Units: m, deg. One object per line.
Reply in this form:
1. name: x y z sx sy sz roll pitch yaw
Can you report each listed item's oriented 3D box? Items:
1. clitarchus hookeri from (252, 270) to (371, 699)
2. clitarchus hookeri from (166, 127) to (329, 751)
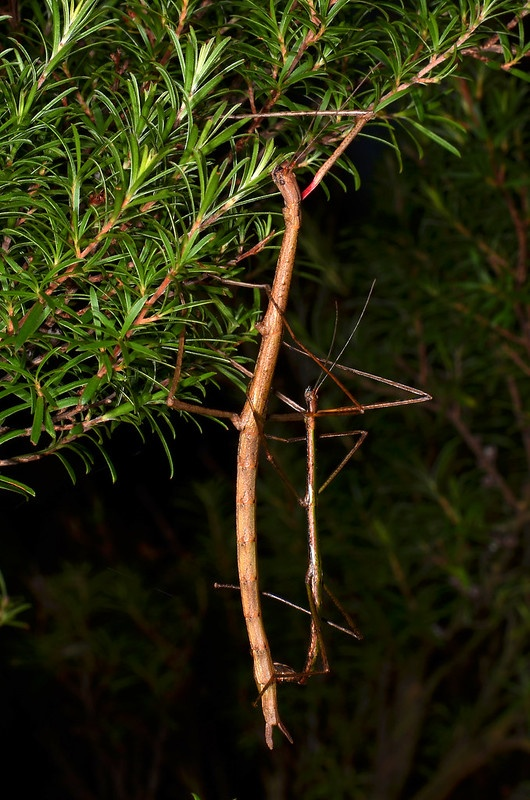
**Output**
1. clitarchus hookeri: 0.039 0.113 0.739 0.136 0.463 0.099 0 15 -11
2. clitarchus hookeri: -0.047 0.061 0.671 0.078 0.451 0.143 10 10 32
